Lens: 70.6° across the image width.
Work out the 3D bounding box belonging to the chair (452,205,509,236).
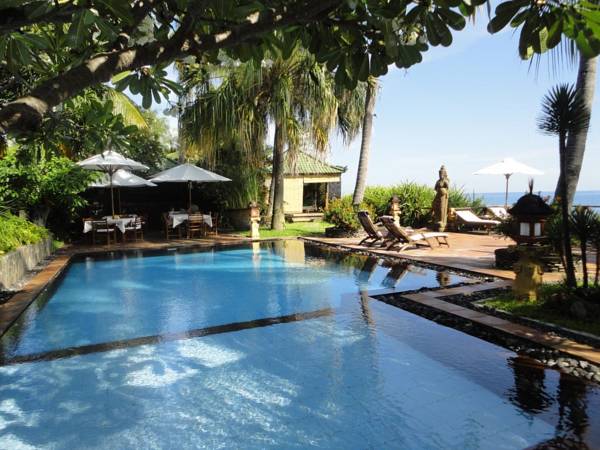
[{"bbox_3d":[6.781,-0.084,16.246,1.267,1.000,2.049,-10,12,-40],"label":"chair"}]

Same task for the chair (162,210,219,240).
[{"bbox_3d":[-4.202,0.005,16.098,1.915,1.006,2.049,-6,11,-18],"label":"chair"}]

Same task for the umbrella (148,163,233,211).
[{"bbox_3d":[-4.356,-1.459,16.253,2.479,1.776,2.760,-6,11,-19],"label":"umbrella"}]

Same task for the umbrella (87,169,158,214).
[{"bbox_3d":[-6.333,-1.317,14.877,1.770,1.298,1.822,0,1,17],"label":"umbrella"}]
